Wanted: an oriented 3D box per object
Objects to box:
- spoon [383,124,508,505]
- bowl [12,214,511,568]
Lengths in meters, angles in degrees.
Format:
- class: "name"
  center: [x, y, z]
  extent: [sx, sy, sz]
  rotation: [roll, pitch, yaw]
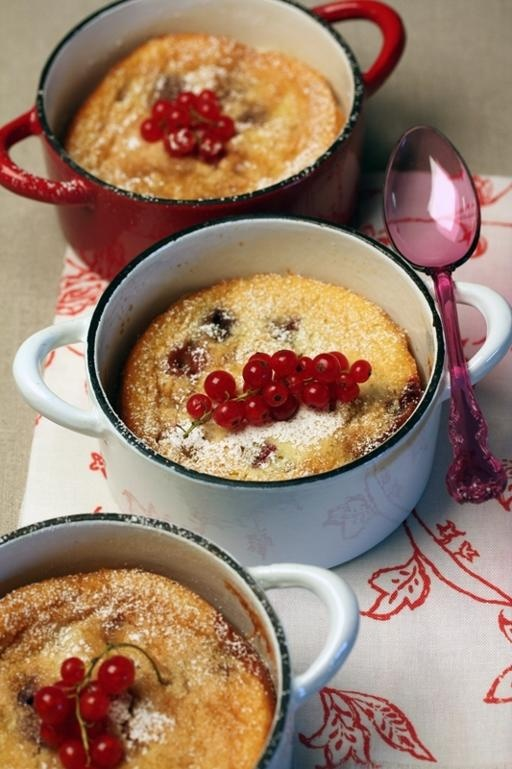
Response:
- class: "spoon"
  center: [0.228, -0.107, 0.933]
  extent: [0.115, 0.069, 0.497]
  rotation: [-12, 53, 15]
- class: "bowl"
  center: [0.009, 0.004, 0.848]
  extent: [0.384, 0.218, 0.374]
  rotation: [0, 50, 0]
